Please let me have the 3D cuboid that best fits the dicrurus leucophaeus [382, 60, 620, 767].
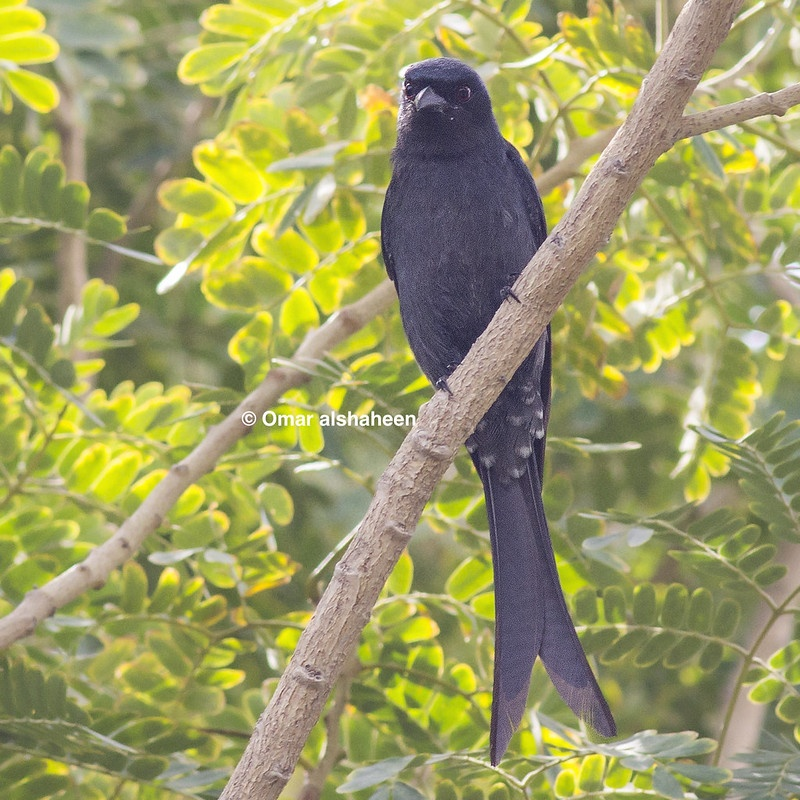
[{"bbox_3d":[0.216,-0.054,4.100,0.595,0.726,2.142,-9,-89,6],"label":"dicrurus leucophaeus"}]
